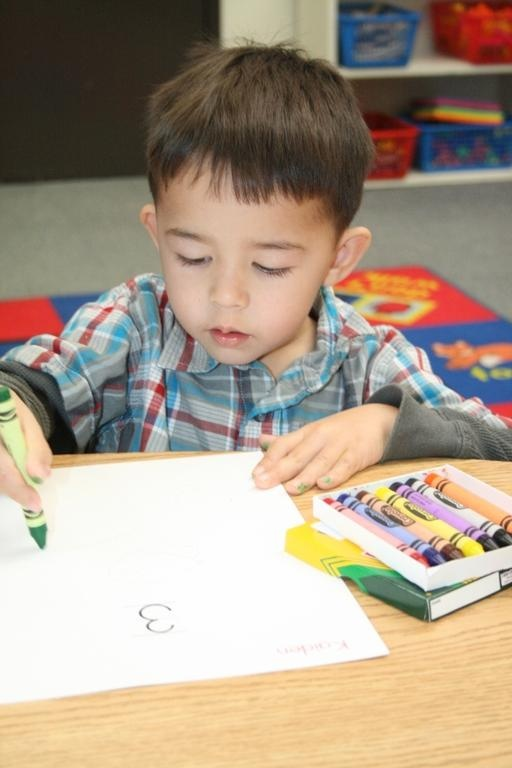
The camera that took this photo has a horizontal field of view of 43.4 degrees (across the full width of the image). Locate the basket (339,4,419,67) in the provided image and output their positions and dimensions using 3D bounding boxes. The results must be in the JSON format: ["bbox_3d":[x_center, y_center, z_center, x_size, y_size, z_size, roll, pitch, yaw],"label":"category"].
[{"bbox_3d":[0.544,-1.617,2.998,0.290,0.197,0.407,-2,25,-2],"label":"basket"}]
